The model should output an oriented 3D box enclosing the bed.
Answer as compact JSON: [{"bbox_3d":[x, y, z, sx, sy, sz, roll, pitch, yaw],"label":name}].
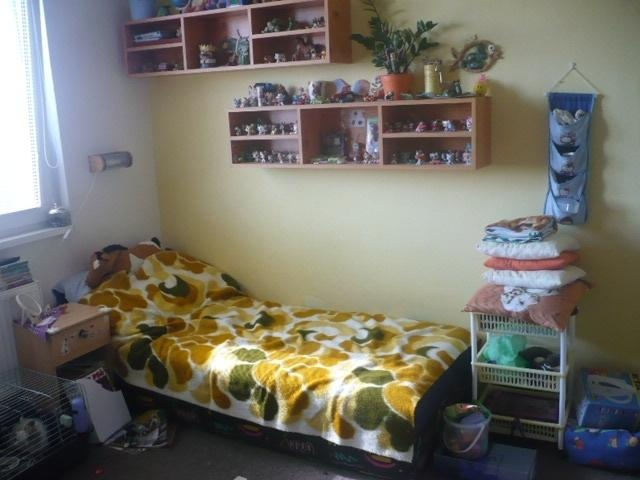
[{"bbox_3d":[-0.266,0.733,3.122,2.127,0.728,1.335,4,19,27],"label":"bed"}]

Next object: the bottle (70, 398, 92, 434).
[{"bbox_3d":[-1.450,1.072,2.956,0.100,0.232,0.091,-9,15,-28],"label":"bottle"}]

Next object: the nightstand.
[{"bbox_3d":[-1.707,0.711,3.232,0.404,0.413,0.474,9,13,27],"label":"nightstand"}]

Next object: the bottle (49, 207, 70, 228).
[{"bbox_3d":[-1.885,-0.157,3.520,0.122,0.134,0.140,4,14,7],"label":"bottle"}]

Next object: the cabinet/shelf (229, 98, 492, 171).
[{"bbox_3d":[0.184,-0.696,3.313,1.737,0.407,0.323,3,10,19],"label":"cabinet/shelf"}]

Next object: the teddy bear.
[{"bbox_3d":[-1.514,0.131,3.807,0.230,0.284,0.675,7,25,39],"label":"teddy bear"}]

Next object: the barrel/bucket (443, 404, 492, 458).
[{"bbox_3d":[0.820,1.064,2.693,0.271,0.217,0.276,-7,5,1],"label":"barrel/bucket"}]

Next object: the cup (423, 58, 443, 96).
[{"bbox_3d":[0.731,-1.035,3.119,0.118,0.208,0.126,-2,14,0],"label":"cup"}]
